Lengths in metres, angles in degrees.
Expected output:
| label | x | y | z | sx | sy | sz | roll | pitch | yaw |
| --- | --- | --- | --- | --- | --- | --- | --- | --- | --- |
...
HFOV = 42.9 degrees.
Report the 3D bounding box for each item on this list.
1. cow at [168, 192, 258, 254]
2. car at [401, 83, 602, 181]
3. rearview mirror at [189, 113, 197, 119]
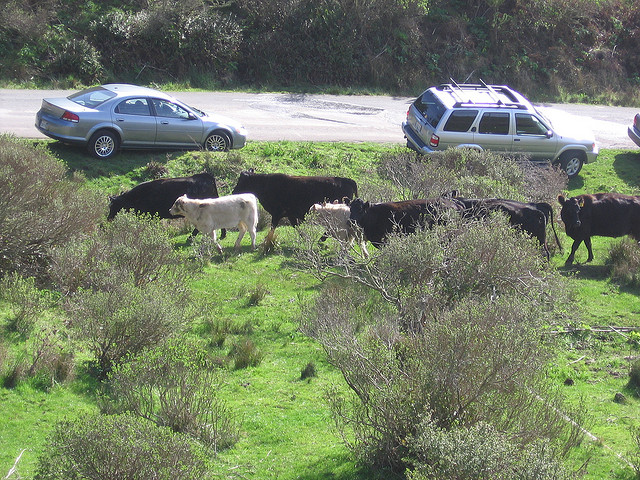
| label | x | y | z | sx | sy | sz | roll | pitch | yaw |
| --- | --- | --- | --- | --- | --- | --- | --- | --- | --- |
| cow | -2.786 | -0.615 | 22.930 | 1.712 | 1.589 | 2.372 | 23 | 23 | 39 |
| car | 6.691 | -3.206 | 28.931 | 6.231 | 3.362 | 3.623 | -3 | 31 | -6 |
| rearview mirror | -4.276 | -4.100 | 27.116 | 0.151 | 0.112 | 0.154 | 14 | 34 | 10 |
